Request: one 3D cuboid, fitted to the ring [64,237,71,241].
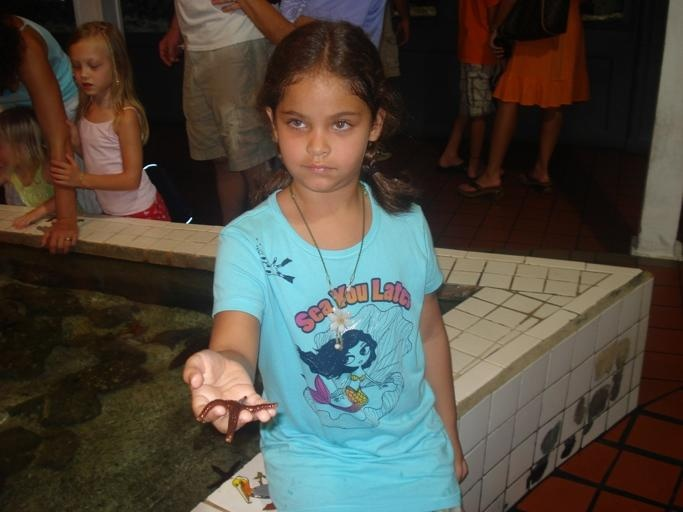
[{"bbox_3d":[-1.578,-0.092,2.995,0.033,0.021,0.012,-8,31,-12],"label":"ring"}]

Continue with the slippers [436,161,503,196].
[{"bbox_3d":[1.204,-0.638,4.837,0.591,0.201,0.334,-15,49,4],"label":"slippers"}]
